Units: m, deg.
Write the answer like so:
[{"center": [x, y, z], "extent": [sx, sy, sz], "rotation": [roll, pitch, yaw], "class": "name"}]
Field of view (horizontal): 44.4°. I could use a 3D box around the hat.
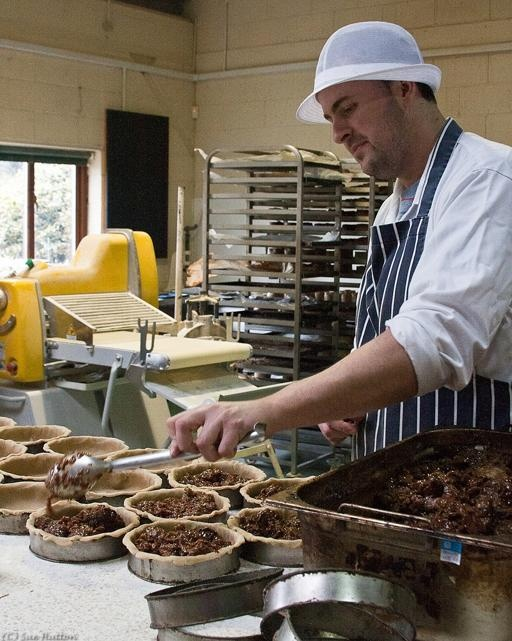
[{"center": [0.241, -0.563, 1.368], "extent": [0.324, 0.140, 0.257], "rotation": [4, 20, 23], "class": "hat"}]
